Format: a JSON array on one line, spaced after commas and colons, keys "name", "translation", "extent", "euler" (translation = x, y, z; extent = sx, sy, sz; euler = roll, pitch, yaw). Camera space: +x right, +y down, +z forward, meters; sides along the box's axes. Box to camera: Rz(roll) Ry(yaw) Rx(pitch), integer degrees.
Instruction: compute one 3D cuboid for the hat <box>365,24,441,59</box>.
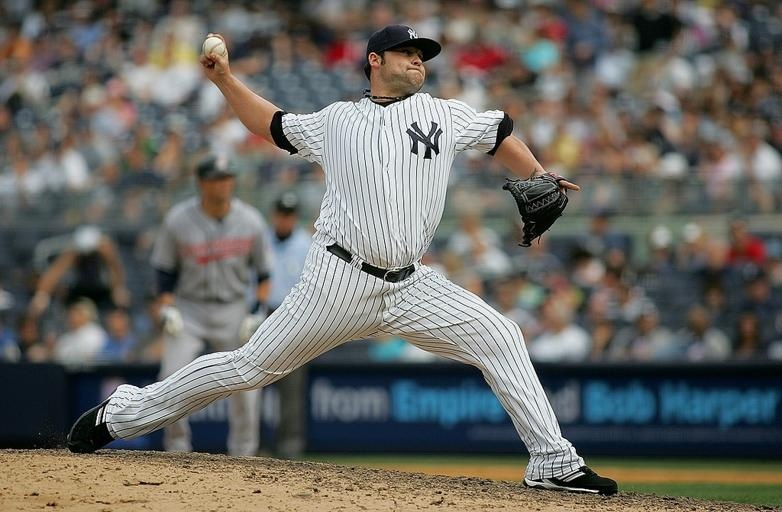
[{"name": "hat", "translation": [0.124, -1.727, 10.997], "extent": [0.465, 0.215, 0.293], "euler": [-14, -1, 17]}]
